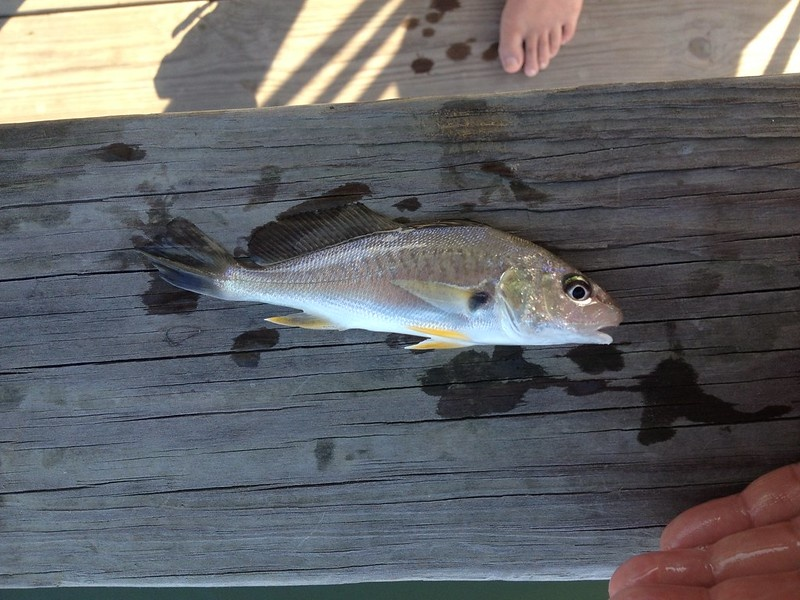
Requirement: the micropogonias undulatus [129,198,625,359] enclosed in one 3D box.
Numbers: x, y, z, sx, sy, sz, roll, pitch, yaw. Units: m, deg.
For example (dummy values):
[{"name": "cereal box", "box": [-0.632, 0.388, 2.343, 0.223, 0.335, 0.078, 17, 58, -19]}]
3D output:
[{"name": "micropogonias undulatus", "box": [-0.025, -0.104, 4.614, 2.106, 0.279, 0.617, 13, 69, 7]}]
